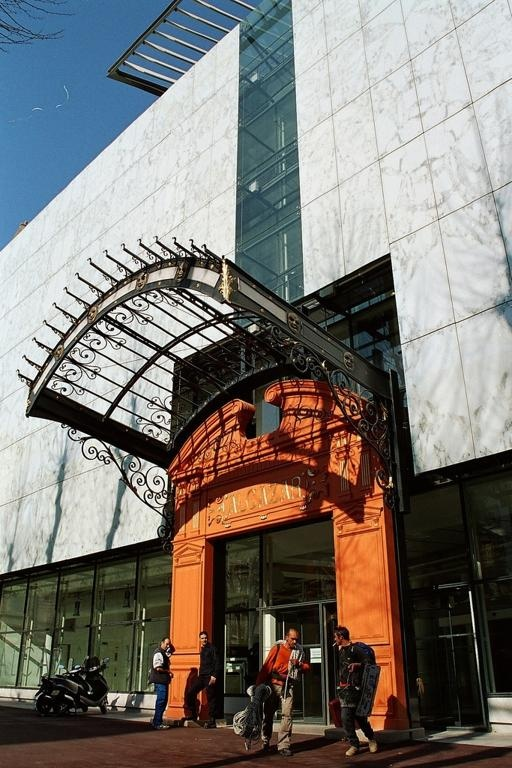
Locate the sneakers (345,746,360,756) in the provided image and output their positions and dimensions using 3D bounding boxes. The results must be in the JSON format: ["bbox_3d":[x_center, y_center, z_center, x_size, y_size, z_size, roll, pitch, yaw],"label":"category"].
[{"bbox_3d":[1.034,3.925,6.291,0.068,0.081,0.205,-10,-28,33],"label":"sneakers"}]

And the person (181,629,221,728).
[{"bbox_3d":[-0.946,5.140,10.254,0.557,1.494,1.380,1,-23,-6],"label":"person"}]

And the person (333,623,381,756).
[{"bbox_3d":[1.091,3.458,6.695,0.378,1.273,0.751,-15,-26,29],"label":"person"}]

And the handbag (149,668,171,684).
[{"bbox_3d":[-1.714,5.234,10.430,0.274,0.234,0.278,24,-42,-25],"label":"handbag"}]

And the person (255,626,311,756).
[{"bbox_3d":[0.310,3.633,6.983,0.549,1.293,0.926,5,-24,-16],"label":"person"}]

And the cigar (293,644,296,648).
[{"bbox_3d":[0.462,3.160,7.087,0.024,0.035,0.010,0,-10,-2],"label":"cigar"}]

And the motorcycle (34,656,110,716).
[{"bbox_3d":[-4.123,6.901,13.232,1.550,1.034,1.073,6,-24,-18],"label":"motorcycle"}]
